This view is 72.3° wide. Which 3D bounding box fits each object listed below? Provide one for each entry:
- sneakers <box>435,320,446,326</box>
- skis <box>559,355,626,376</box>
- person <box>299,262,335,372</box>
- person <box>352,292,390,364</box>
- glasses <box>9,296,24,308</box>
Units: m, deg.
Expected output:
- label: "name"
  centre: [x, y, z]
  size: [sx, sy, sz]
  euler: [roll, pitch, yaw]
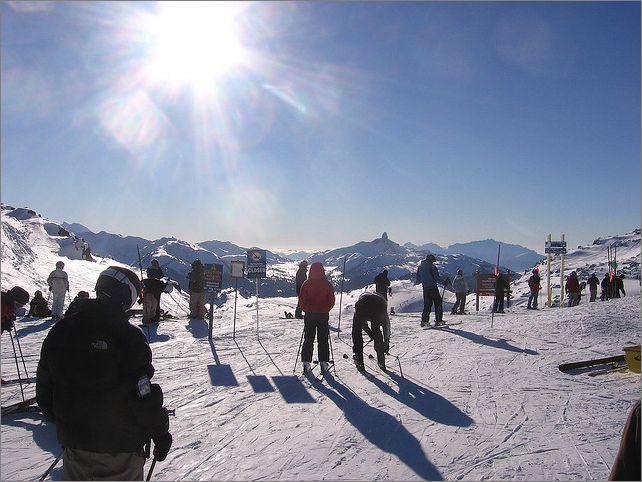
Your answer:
- label: "sneakers"
  centre: [5.001, 3.450, 18.209]
  size: [0.242, 0.185, 0.577]
  euler: [-1, -5, -29]
- label: "skis"
  centre: [6.453, 2.971, 10.340]
  size: [1.711, 0.257, 0.178]
  euler: [-6, 3, 0]
- label: "person"
  centre: [-0.088, 1.951, 10.970]
  size: [0.861, 2.836, 1.131]
  euler: [-2, -4, -3]
- label: "person"
  centre: [1.361, 2.406, 11.697]
  size: [0.893, 2.038, 1.175]
  euler: [-4, -4, 21]
- label: "glasses"
  centre: [-6.458, 1.332, 9.364]
  size: [0.202, 0.196, 0.162]
  euler: [4, -5, 24]
